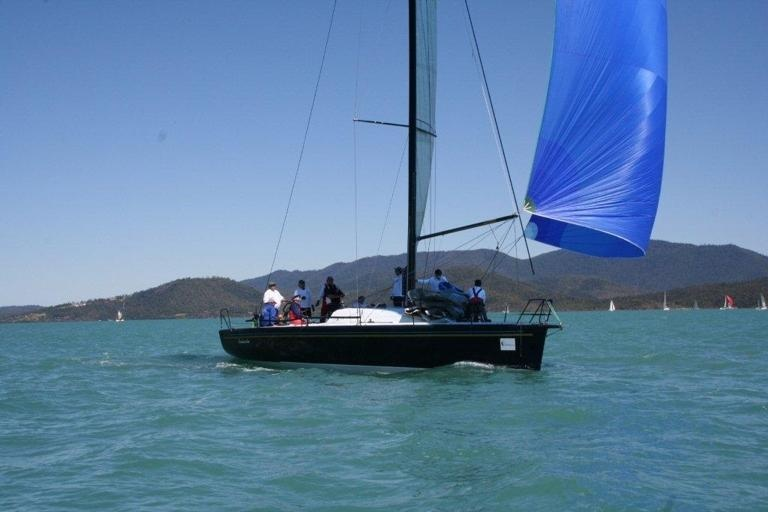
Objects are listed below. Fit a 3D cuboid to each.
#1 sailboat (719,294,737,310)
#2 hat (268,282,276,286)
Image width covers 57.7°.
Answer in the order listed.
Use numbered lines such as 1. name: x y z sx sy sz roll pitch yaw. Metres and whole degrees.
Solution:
1. sailboat: 75.462 9.666 151.792 2.698 3.609 39.404 -2 -5 26
2. hat: -3.072 0.770 18.893 0.178 0.080 0.248 -1 3 -23
